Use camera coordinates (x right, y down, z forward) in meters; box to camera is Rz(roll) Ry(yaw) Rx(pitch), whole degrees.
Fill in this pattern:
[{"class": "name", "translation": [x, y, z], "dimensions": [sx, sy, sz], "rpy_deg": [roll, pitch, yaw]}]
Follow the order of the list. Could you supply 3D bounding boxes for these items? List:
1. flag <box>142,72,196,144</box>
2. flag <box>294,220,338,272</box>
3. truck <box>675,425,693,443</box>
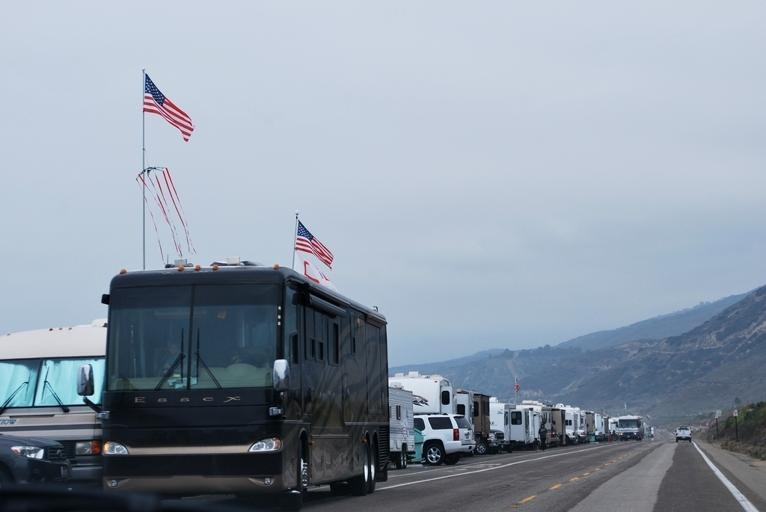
[{"class": "flag", "translation": [-6.670, -4.729, 27.443], "dimensions": [1.637, 0.216, 2.031], "rpy_deg": [10, -52, -7]}, {"class": "flag", "translation": [-2.218, -0.247, 25.871], "dimensions": [0.128, 1.296, 1.682], "rpy_deg": [-15, -27, 31]}, {"class": "truck", "translation": [31.169, 18.390, 89.961], "dimensions": [1.600, 1.500, 2.734], "rpy_deg": [-1, 0, 13]}]
